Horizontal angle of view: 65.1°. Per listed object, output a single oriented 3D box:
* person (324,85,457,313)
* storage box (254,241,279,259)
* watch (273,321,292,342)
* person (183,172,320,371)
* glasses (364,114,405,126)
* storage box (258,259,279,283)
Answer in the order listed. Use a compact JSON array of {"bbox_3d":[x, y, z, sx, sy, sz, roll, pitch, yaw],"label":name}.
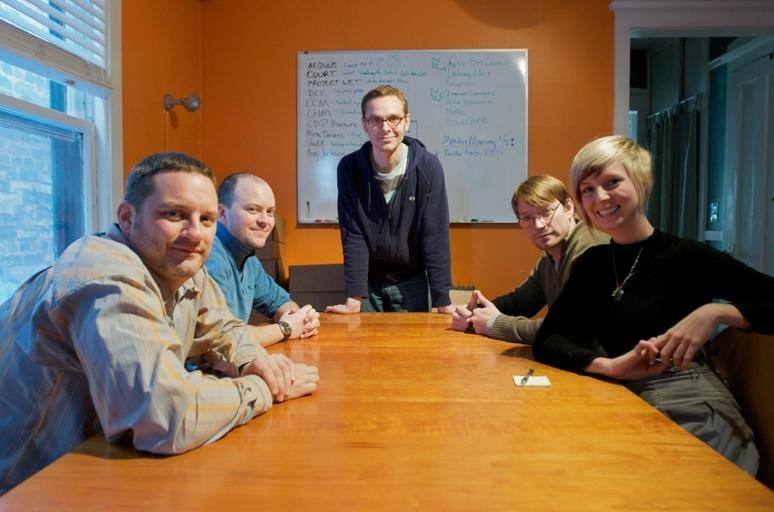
[{"bbox_3d":[0.036,-0.302,3.515,0.712,1.285,0.430,2,8,3],"label":"person"},{"bbox_3d":[-0.933,-0.057,4.702,0.133,0.141,0.136,4,9,27],"label":"storage box"},{"bbox_3d":[-0.464,0.344,2.758,0.077,0.087,0.057,-31,-17,31],"label":"watch"},{"bbox_3d":[-0.676,0.088,2.967,0.548,0.929,0.614,-2,10,-38],"label":"person"},{"bbox_3d":[-0.020,-0.743,3.380,0.221,0.054,0.089,2,8,0],"label":"glasses"},{"bbox_3d":[-0.901,0.134,4.707,0.187,0.189,0.048,2,-3,10],"label":"storage box"}]
